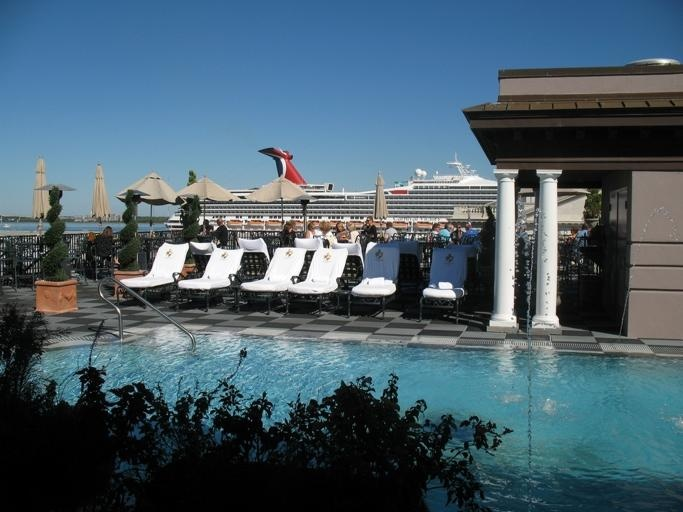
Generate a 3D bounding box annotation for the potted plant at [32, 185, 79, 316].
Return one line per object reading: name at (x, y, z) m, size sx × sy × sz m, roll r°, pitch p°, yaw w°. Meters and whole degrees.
potted plant at (-5.413, -0.127, 10.117) m, size 0.666 × 2.409 × 0.773 m, roll 3°, pitch -2°, yaw -31°

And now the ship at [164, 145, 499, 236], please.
ship at (-1.677, -10.322, 104.989) m, size 74.582 × 18.371 × 14.981 m, roll 4°, pitch -14°, yaw 32°
